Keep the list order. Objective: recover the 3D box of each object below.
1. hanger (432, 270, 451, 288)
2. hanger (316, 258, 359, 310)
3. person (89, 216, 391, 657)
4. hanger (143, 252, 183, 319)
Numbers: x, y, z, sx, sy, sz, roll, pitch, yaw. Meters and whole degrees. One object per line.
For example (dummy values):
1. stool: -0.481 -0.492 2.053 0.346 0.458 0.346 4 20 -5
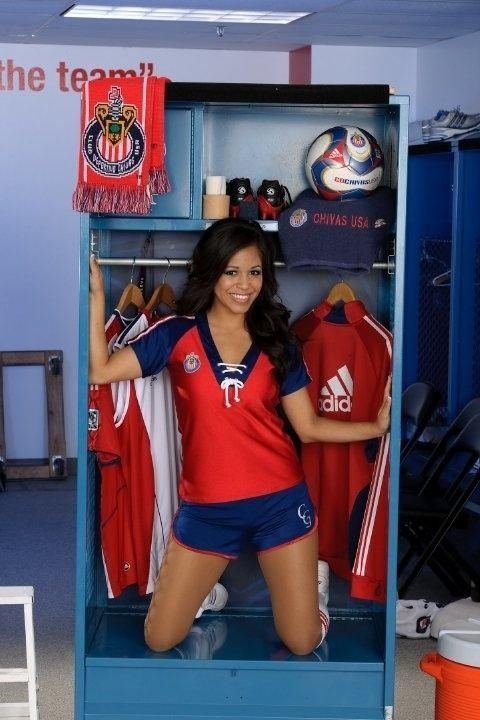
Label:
1. hanger: 1.482 -0.614 4.673 0.120 0.125 0.385 0 0 16
2. hanger: 0.334 -0.259 2.128 0.133 0.232 0.024 7 16 36
3. person: -0.011 0.243 2.014 0.868 1.305 0.464 -2 15 -5
4. hanger: -0.264 -0.227 2.144 0.006 0.151 0.237 2 0 -29
